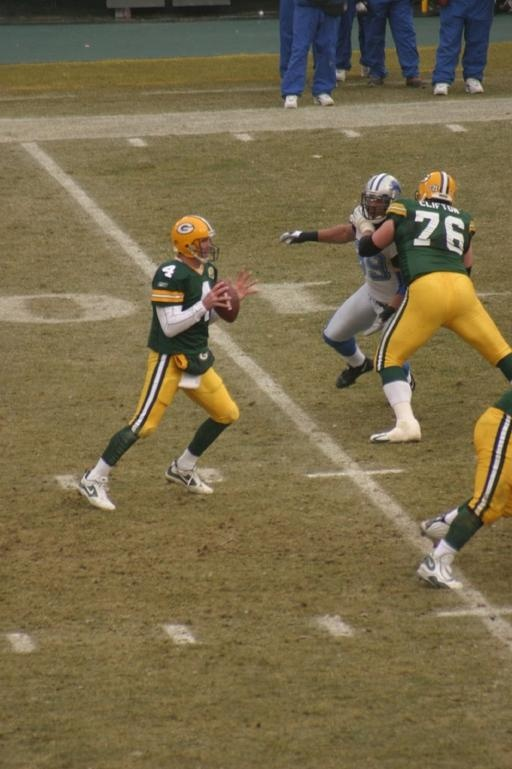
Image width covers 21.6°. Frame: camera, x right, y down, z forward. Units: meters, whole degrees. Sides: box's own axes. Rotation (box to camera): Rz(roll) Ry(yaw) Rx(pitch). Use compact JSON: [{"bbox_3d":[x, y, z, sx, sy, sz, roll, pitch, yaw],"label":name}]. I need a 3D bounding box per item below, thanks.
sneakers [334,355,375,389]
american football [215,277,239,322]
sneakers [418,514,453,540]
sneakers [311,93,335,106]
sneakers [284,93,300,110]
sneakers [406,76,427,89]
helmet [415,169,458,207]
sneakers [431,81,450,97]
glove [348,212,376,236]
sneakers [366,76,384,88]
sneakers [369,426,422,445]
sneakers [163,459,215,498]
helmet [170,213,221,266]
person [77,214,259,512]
[{"bbox_3d":[0.682,-0.066,8.499,0.353,0.108,0.175,-31,-10,24],"label":"sneakers"},{"bbox_3d":[-0.132,-0.408,6.778,0.068,0.164,0.124,-14,15,-9],"label":"american football"},{"bbox_3d":[0.846,0.676,6.373,0.194,0.089,0.065,-34,19,44],"label":"sneakers"},{"bbox_3d":[0.820,-3.372,15.944,0.123,0.117,0.290,-5,11,-14],"label":"sneakers"},{"bbox_3d":[0.402,-3.317,15.738,0.233,0.090,0.315,-2,-7,-3],"label":"sneakers"},{"bbox_3d":[2.115,-3.922,17.473,0.340,0.137,0.103,6,30,3],"label":"sneakers"},{"bbox_3d":[0.992,-1.083,7.415,0.184,0.180,0.222,15,14,-8],"label":"helmet"},{"bbox_3d":[2.291,-3.656,16.675,0.162,0.176,0.083,-1,2,3],"label":"sneakers"},{"bbox_3d":[0.601,-0.904,7.716,0.123,0.071,0.184,32,-13,12],"label":"glove"},{"bbox_3d":[1.554,-4.006,17.809,0.135,0.098,0.298,-4,6,-13],"label":"sneakers"},{"bbox_3d":[0.724,0.259,6.899,0.315,0.122,0.092,3,17,10],"label":"sneakers"},{"bbox_3d":[-0.358,0.501,7.035,0.284,0.121,0.139,24,13,-5],"label":"sneakers"},{"bbox_3d":[-0.319,-0.722,6.716,0.209,0.236,0.250,2,18,-2],"label":"helmet"},{"bbox_3d":[-0.474,-0.081,6.676,0.792,1.459,0.525,-6,21,-23],"label":"person"}]
